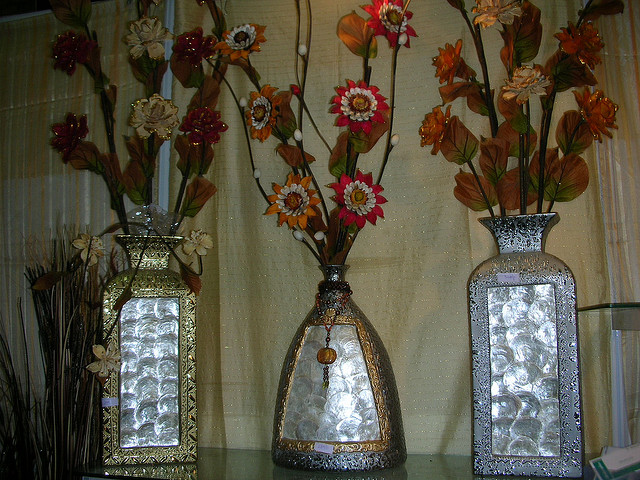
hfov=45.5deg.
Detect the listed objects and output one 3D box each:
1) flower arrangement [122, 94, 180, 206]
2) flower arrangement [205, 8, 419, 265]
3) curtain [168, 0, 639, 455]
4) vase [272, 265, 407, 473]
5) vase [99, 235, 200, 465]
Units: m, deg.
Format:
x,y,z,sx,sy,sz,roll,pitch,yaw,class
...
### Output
x,y,z,sx,sy,sz,roll,pitch,yaw,class
-0.485,-0.223,2.147,0.138,0.304,0.262,2,-13,-20,flower arrangement
-0.001,-0.271,2.105,0.619,0.936,0.238,-1,9,3,flower arrangement
0.263,-0.010,2.015,1.121,1.279,0.016,0,2,7,curtain
0.043,0.335,1.894,0.359,0.578,0.382,0,-10,3,vase
-0.443,0.282,1.989,0.254,0.586,0.158,1,-12,-14,vase
